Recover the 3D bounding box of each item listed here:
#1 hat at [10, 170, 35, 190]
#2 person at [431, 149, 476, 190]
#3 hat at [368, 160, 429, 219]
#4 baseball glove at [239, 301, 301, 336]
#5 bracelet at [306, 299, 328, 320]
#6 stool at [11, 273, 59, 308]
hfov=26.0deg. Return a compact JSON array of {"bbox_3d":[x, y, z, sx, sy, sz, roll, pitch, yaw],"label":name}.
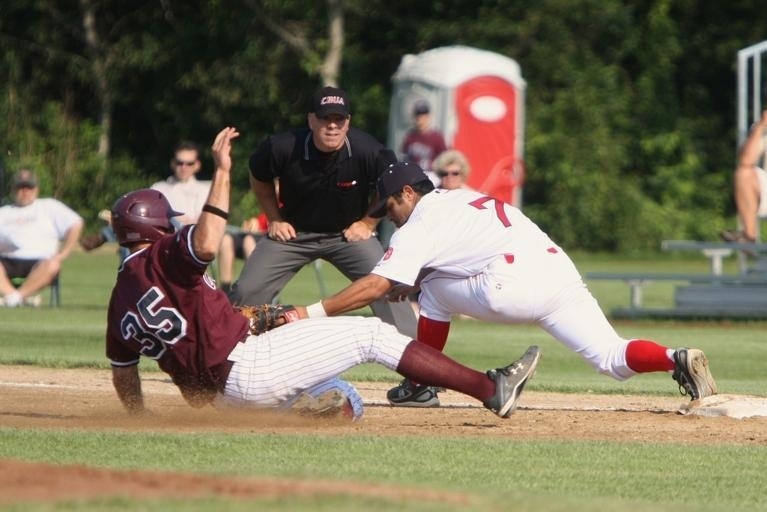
[{"bbox_3d":[-7.208,-1.510,33.192,0.546,0.238,0.763,-6,-2,-12],"label":"hat"},{"bbox_3d":[1.306,-1.688,32.603,0.833,0.907,0.715,-3,4,-2],"label":"person"},{"bbox_3d":[0.179,-1.197,27.961,1.021,0.572,0.703,-27,5,16],"label":"hat"},{"bbox_3d":[-1.858,0.905,27.020,0.762,0.264,0.453,-12,-14,-6],"label":"baseball glove"},{"bbox_3d":[-1.101,0.809,27.273,0.272,0.274,0.253,-14,11,4],"label":"bracelet"},{"bbox_3d":[-7.021,0.647,33.865,0.606,1.036,0.769,1,-6,-6],"label":"stool"}]
